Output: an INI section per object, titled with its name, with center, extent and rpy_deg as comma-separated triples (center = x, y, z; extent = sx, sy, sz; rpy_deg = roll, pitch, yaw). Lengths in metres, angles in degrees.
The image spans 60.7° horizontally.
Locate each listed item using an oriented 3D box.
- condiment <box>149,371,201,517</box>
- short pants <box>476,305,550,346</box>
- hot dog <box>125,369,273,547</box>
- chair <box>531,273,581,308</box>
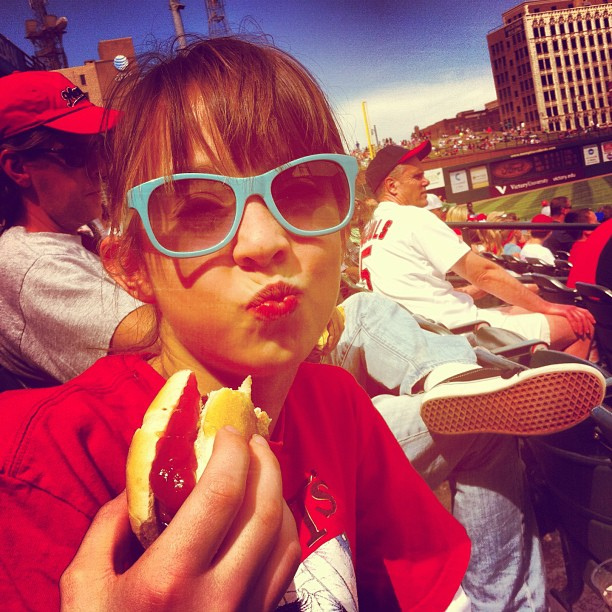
[condiment]
center = -0.196, 0.208, 0.812
extent = 0.056, 0.161, 0.171
rpy_deg = -11, 13, 2
[short pants]
center = 1.265, 0.086, 3.187
extent = 0.373, 0.210, 0.356
rpy_deg = -3, 12, -6
[hot dog]
center = -0.158, 0.180, 0.793
extent = 0.094, 0.163, 0.287
rpy_deg = -40, 25, 36
[chair]
center = 1.611, -0.081, 3.358
extent = 0.212, 0.265, 0.198
rpy_deg = -20, 33, -3
